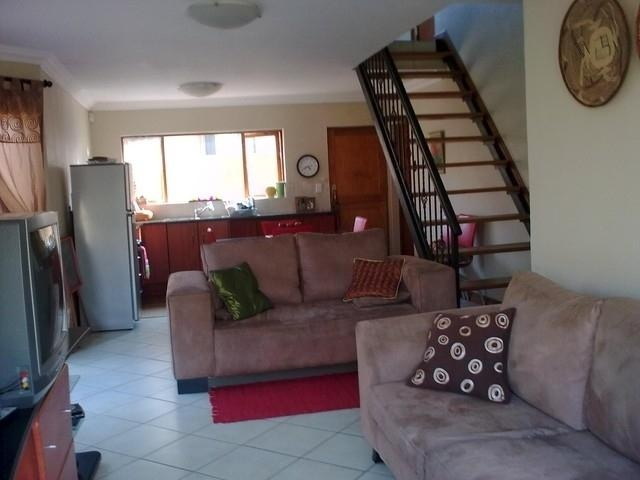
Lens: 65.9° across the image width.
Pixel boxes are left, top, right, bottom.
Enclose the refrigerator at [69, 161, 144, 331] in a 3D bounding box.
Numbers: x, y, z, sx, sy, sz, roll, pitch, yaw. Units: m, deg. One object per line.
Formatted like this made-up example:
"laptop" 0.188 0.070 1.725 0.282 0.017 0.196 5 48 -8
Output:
"refrigerator" -2.411 0.099 5.555 0.642 1.846 0.341 -7 10 -24
